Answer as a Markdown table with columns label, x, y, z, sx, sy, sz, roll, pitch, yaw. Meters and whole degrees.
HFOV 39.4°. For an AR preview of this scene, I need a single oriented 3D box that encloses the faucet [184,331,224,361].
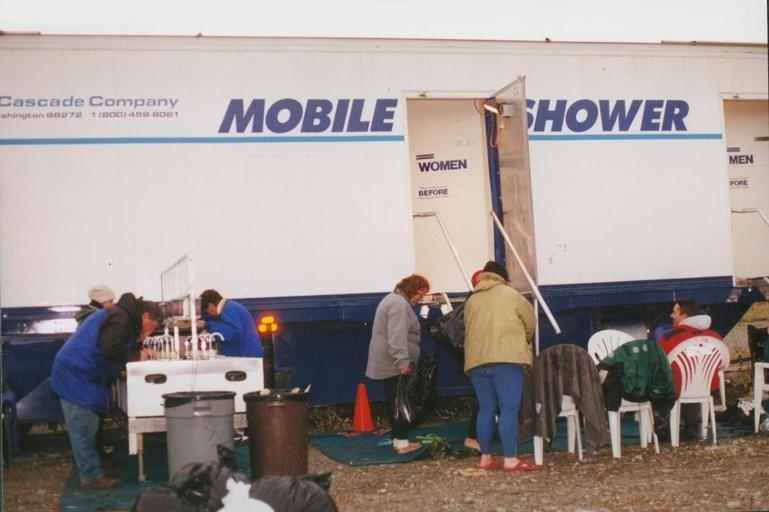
| label | x | y | z | sx | sy | sz | roll | pitch | yaw |
| --- | --- | --- | --- | --- | --- | --- | --- | --- | --- |
| faucet | -1.846 | 0.918 | 10.928 | 0.373 | 0.264 | 0.256 | 1 | 3 | 11 |

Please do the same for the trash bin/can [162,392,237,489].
| label | x | y | z | sx | sy | sz | roll | pitch | yaw |
| --- | --- | --- | --- | --- | --- | --- | --- | --- | --- |
| trash bin/can | -1.759 | 1.789 | 10.412 | 0.853 | 1.073 | 0.742 | 1 | -8 | -10 |

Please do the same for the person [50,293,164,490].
| label | x | y | z | sx | sy | sz | roll | pitch | yaw |
| --- | --- | --- | --- | --- | --- | --- | --- | --- | --- |
| person | -2.733 | 1.322 | 10.611 | 0.989 | 1.870 | 0.376 | -6 | 10 | -19 |

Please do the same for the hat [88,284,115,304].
| label | x | y | z | sx | sy | sz | roll | pitch | yaw |
| --- | --- | --- | --- | --- | --- | --- | --- | --- | --- |
| hat | -2.949 | 0.388 | 11.317 | 0.238 | 0.193 | 0.175 | -4 | 15 | -22 |

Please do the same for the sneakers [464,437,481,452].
| label | x | y | z | sx | sy | sz | roll | pitch | yaw |
| --- | --- | --- | --- | --- | --- | --- | --- | --- | --- |
| sneakers | 0.943 | 1.994 | 11.322 | 0.230 | 0.167 | 0.079 | 9 | 0 | 34 |

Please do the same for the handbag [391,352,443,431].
| label | x | y | z | sx | sy | sz | roll | pitch | yaw |
| --- | --- | --- | --- | --- | --- | --- | --- | --- | --- |
| handbag | 0.342 | 1.435 | 11.224 | 0.481 | 0.745 | 0.223 | -4 | 10 | -12 |

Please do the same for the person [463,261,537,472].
| label | x | y | z | sx | sy | sz | roll | pitch | yaw |
| --- | --- | --- | --- | --- | --- | --- | --- | --- | --- |
| person | 1.192 | 1.114 | 10.791 | 0.729 | 2.004 | 0.581 | 3 | 11 | 27 |

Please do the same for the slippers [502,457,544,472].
| label | x | y | z | sx | sy | sz | roll | pitch | yaw |
| --- | --- | --- | --- | --- | --- | --- | --- | --- | --- |
| slippers | 1.384 | 2.101 | 10.723 | 0.270 | 0.101 | 0.152 | -3 | -2 | -5 |

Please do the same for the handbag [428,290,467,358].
| label | x | y | z | sx | sy | sz | roll | pitch | yaw |
| --- | --- | --- | --- | --- | --- | --- | --- | --- | --- |
| handbag | 0.799 | 0.763 | 11.230 | 0.521 | 0.400 | 0.194 | -35 | -32 | 1 |

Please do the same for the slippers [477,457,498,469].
| label | x | y | z | sx | sy | sz | roll | pitch | yaw |
| --- | --- | --- | --- | --- | --- | --- | --- | --- | --- |
| slippers | 1.092 | 2.091 | 10.859 | 0.087 | 0.094 | 0.241 | 3 | 7 | 32 |

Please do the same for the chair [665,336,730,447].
| label | x | y | z | sx | sy | sz | roll | pitch | yaw |
| --- | --- | --- | --- | --- | --- | --- | --- | --- | --- |
| chair | 3.304 | 1.398 | 11.317 | 0.770 | 1.194 | 0.420 | -8 | 11 | -30 |

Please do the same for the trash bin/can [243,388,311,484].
| label | x | y | z | sx | sy | sz | roll | pitch | yaw |
| --- | --- | --- | --- | --- | --- | --- | --- | --- | --- |
| trash bin/can | -0.985 | 1.701 | 10.587 | 0.996 | 1.013 | 0.717 | -1 | -3 | 4 |
